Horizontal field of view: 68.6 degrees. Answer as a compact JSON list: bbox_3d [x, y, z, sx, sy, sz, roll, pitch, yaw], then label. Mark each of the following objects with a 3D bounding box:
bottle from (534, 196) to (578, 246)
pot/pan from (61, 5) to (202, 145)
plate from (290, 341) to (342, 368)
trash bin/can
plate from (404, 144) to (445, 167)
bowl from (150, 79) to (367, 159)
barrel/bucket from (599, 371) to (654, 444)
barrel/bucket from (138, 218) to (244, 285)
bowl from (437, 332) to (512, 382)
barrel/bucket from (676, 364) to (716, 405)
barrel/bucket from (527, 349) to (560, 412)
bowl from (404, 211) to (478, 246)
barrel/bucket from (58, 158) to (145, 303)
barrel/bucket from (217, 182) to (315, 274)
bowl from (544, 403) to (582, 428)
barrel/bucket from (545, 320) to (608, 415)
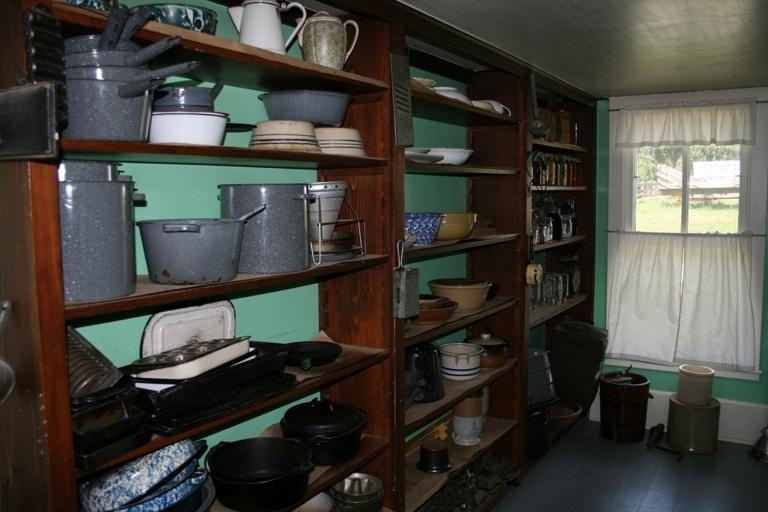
[{"bbox_3d":[1.406,-0.271,4.616,0.188,0.371,0.528,-2,0,42],"label":"bottle"},{"bbox_3d":[-0.795,-0.533,1.778,0.522,0.421,0.328,7,7,35],"label":"pot/pan"},{"bbox_3d":[-0.305,0.430,2.483,0.231,0.064,0.240,-1,8,-5],"label":"plate"},{"bbox_3d":[1.694,0.901,4.876,0.544,0.648,0.473,6,7,10],"label":"trash bin/can"},{"bbox_3d":[0.210,-0.516,2.924,0.168,0.049,0.148,0,7,-13],"label":"plate"},{"bbox_3d":[-0.487,-0.511,2.113,0.645,0.115,0.296,1,0,-37],"label":"bowl"},{"bbox_3d":[1.913,1.223,4.499,0.345,0.537,0.298,6,11,39],"label":"barrel/bucket"},{"bbox_3d":[-0.670,-0.013,1.941,0.280,0.132,0.291,0,1,0],"label":"barrel/bucket"},{"bbox_3d":[0.569,0.625,3.519,0.256,0.129,0.409,-1,-1,35],"label":"bowl"},{"bbox_3d":[2.425,0.977,4.379,0.302,0.272,0.292,1,3,0],"label":"barrel/bucket"},{"bbox_3d":[1.140,0.899,4.097,0.324,0.355,0.398,-10,-6,10],"label":"barrel/bucket"},{"bbox_3d":[0.307,-0.145,3.126,0.240,0.097,0.296,-1,1,42],"label":"bowl"},{"bbox_3d":[-0.873,-0.046,1.724,0.221,0.360,0.077,-7,11,-32],"label":"barrel/bucket"},{"bbox_3d":[-0.489,-0.110,2.256,0.417,0.325,0.347,-2,5,-4],"label":"barrel/bucket"},{"bbox_3d":[1.455,1.260,4.505,0.230,0.062,0.222,-3,5,0],"label":"bowl"},{"bbox_3d":[1.675,0.892,4.870,0.496,0.633,0.417,9,4,10],"label":"barrel/bucket"}]
